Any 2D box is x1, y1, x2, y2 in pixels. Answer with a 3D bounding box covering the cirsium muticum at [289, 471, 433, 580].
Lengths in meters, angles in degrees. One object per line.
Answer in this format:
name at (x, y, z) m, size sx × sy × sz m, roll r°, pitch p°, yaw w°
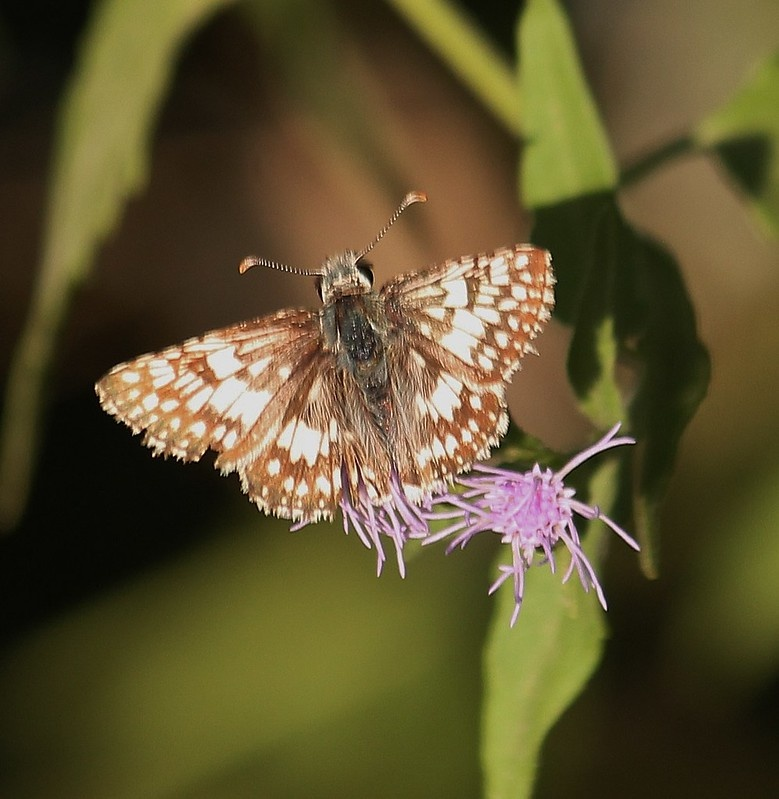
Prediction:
cirsium muticum at (-0.008, 0.153, 1.340) m, size 0.064 × 0.137 × 0.142 m, roll 13°, pitch 58°, yaw -73°
